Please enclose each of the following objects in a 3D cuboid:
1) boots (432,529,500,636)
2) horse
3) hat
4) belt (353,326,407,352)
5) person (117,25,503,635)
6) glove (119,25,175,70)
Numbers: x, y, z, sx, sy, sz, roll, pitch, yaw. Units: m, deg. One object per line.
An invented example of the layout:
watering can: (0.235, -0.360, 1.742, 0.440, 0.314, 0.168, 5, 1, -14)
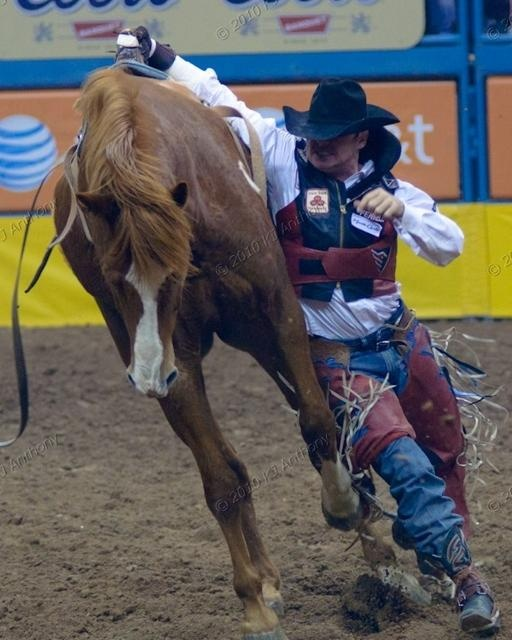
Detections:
boots: (0.671, 0.805, 3.983, 0.187, 0.388, 0.243, -5, 20, 10)
horse: (-0.164, 0.105, 3.947, 0.817, 1.785, 0.676, -25, 25, -39)
hat: (0.282, -0.718, 4.204, 0.458, 0.184, 0.406, -11, 16, -43)
belt: (0.422, 0.067, 4.149, 0.127, 0.062, 0.095, -4, 16, 38)
person: (0.433, 0.366, 4.891, 0.885, 2.371, 1.142, -11, 59, 22)
glove: (-0.356, -0.902, 4.220, 0.112, 0.139, 0.347, 13, 11, 23)
